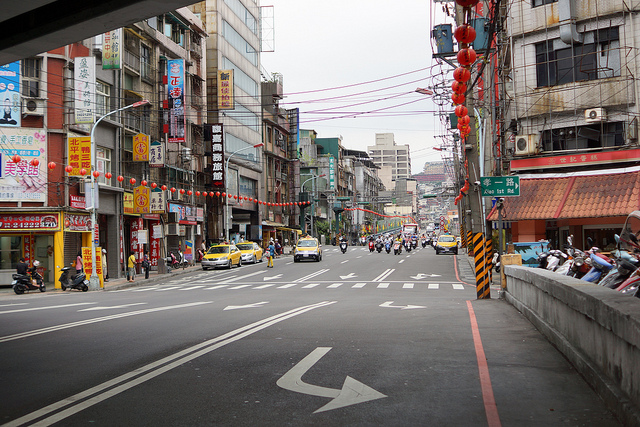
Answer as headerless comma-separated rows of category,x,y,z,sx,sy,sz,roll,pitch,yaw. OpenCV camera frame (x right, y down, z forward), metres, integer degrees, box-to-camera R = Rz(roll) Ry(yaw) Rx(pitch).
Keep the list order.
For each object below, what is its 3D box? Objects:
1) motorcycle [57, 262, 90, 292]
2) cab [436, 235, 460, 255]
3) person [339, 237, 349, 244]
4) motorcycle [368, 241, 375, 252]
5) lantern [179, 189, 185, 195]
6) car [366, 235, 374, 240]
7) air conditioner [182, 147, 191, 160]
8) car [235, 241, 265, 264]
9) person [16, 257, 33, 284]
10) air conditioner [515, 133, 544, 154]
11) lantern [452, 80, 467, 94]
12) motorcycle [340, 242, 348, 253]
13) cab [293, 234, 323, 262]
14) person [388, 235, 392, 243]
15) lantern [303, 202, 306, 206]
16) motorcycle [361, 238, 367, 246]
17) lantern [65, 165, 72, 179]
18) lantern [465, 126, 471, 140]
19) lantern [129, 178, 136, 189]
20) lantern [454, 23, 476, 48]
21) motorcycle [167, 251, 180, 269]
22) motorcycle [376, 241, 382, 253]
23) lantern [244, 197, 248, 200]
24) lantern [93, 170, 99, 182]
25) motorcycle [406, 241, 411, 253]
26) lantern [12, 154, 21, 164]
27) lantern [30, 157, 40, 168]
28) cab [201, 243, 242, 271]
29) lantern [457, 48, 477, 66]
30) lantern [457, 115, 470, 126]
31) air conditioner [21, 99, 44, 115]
motorcycle,-13.210,3.451,31.173,1.899,1.416,1.098,-4,8,14
cab,12.930,3.303,60.028,2.031,1.832,3.091,-1,-2,9
person,2.515,2.829,63.230,0.957,0.949,1.612,-2,-11,2
motorcycle,5.756,3.747,65.293,0.461,1.185,1.153,-1,-1,3
lantern,-11.313,-1.763,47.981,0.452,0.442,0.469,0,14,23
car,9.162,4.515,109.105,1.778,0.970,2.545,-2,-1,4
air conditioner,-11.912,-5.324,51.786,0.826,1.144,1.148,-1,-1,-12
car,-6.081,3.402,50.551,1.297,1.029,3.036,-2,-7,10
person,-15.213,3.000,30.020,0.639,1.229,0.560,0,-1,-32
air conditioner,12.372,-4.079,34.664,1.002,1.553,1.795,3,-3,-38
lantern,4.471,-4.139,18.846,0.402,0.464,0.839,-1,-2,11
motorcycle,2.550,3.797,64.467,1.062,1.264,2.225,-1,8,4
cab,-1.076,3.197,50.321,2.216,1.939,2.976,-1,-2,-2
person,9.835,3.619,83.146,0.808,0.922,1.593,-3,-13,6
lantern,-2.257,-1.339,80.239,0.437,0.334,0.444,-2,6,-4
motorcycle,6.383,4.298,87.030,0.719,1.016,0.367,-3,-3,-4
lantern,-14.259,-2.522,32.998,0.310,0.660,0.301,-8,11,-36
lantern,6.447,-3.477,25.511,0.178,0.649,0.172,7,20,4
lantern,-13.486,-2.262,41.918,0.297,0.428,0.308,9,16,34
lantern,3.816,-4.775,15.421,0.478,0.561,0.941,-1,-2,15
motorcycle,-11.631,3.772,46.348,0.865,1.287,2.726,0,-2,-14
motorcycle,6.418,3.694,64.264,0.562,1.185,0.818,-1,-1,14
lantern,-8.603,-1.717,67.089,0.358,0.347,0.370,0,8,14
lantern,-12.426,-2.173,32.337,0.317,0.378,0.320,1,-6,-12
motorcycle,9.961,3.827,66.065,0.341,1.276,0.983,-1,-1,10
lantern,-16.715,-3.013,32.055,0.382,0.473,0.399,-2,-20,16
lantern,-15.991,-2.839,32.710,0.256,0.454,0.444,-2,11,14
cab,-7.618,3.412,45.566,2.249,1.996,3.603,-1,-2,11
lantern,4.310,-4.707,17.252,0.502,0.498,0.805,-1,-2,19
lantern,5.909,-3.875,24.049,0.402,0.405,0.809,-1,-2,9
air conditioner,-16.252,-6.015,32.847,0.431,0.860,0.969,-1,-2,27
